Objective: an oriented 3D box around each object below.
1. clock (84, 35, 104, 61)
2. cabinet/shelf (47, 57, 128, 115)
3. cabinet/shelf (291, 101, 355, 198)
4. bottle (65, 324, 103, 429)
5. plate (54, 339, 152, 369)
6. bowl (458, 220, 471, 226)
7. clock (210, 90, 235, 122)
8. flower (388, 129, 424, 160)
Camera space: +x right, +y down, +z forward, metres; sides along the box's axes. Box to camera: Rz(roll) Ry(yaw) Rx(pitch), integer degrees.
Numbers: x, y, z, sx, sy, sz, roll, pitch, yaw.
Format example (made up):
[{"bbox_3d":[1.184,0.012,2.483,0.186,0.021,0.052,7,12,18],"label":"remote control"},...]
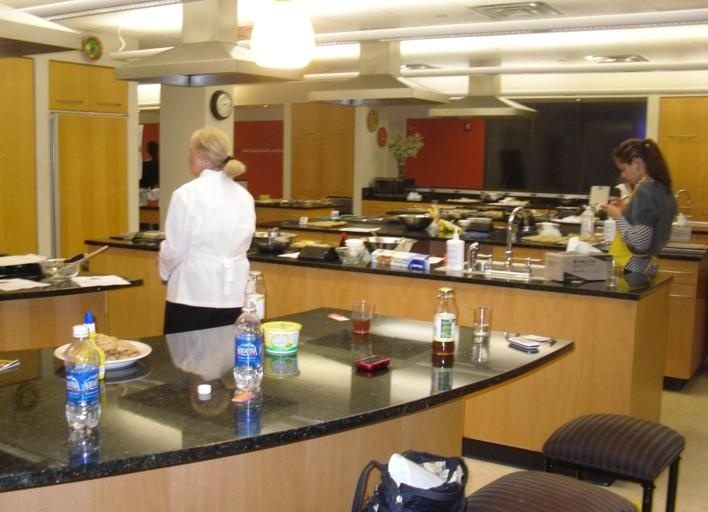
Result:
[{"bbox_3d":[-3.285,-2.582,7.120,0.128,0.313,0.363,2,11,5],"label":"clock"},{"bbox_3d":[-3.270,-2.081,7.118,0.188,0.604,0.995,9,13,32],"label":"cabinet/shelf"},{"bbox_3d":[-0.648,-2.155,11.829,1.290,1.925,0.349,0,12,-5],"label":"cabinet/shelf"},{"bbox_3d":[-0.873,0.364,1.832,0.111,0.290,0.287,-5,12,-25],"label":"bottle"},{"bbox_3d":[-0.910,0.361,2.084,0.197,0.023,0.180,1,3,5],"label":"plate"},{"bbox_3d":[1.316,-0.387,6.763,0.103,0.059,0.097,1,10,0],"label":"bowl"},{"bbox_3d":[-1.443,-1.663,6.354,0.140,0.323,0.335,5,12,18],"label":"clock"},{"bbox_3d":[0.947,-2.040,10.714,0.572,0.509,0.507,1,11,0],"label":"flower"}]
